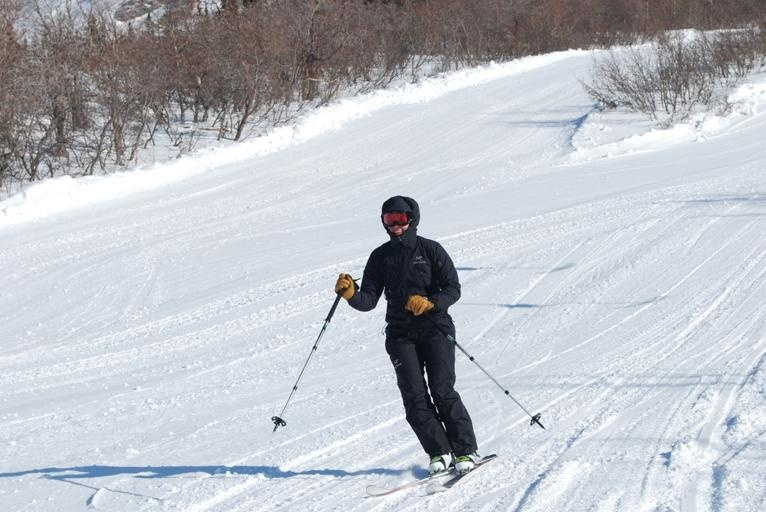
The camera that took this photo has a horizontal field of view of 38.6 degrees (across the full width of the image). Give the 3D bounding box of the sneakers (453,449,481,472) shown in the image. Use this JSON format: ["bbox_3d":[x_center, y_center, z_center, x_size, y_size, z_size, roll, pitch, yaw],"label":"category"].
[{"bbox_3d":[1.850,4.381,23.559,0.277,0.271,0.627,-6,15,43],"label":"sneakers"}]
